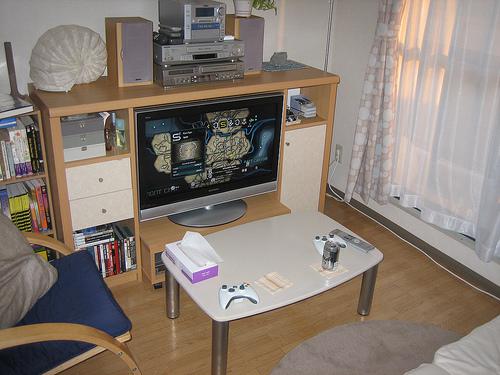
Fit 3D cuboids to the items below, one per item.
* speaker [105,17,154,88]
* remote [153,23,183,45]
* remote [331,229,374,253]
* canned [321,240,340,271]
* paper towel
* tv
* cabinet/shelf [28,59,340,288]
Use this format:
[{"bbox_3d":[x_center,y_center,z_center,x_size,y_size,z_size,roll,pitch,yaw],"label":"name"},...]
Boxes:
[{"bbox_3d":[-0.807,-0.911,2.577,0.284,0.440,0.317,-13,39,-25],"label":"speaker"},{"bbox_3d":[-0.566,-1.050,2.652,0.173,0.079,0.218,-17,45,-26],"label":"remote"},{"bbox_3d":[0.687,0.345,2.556,0.127,0.041,0.264,-17,33,-37],"label":"remote"},{"bbox_3d":[0.486,0.414,2.301,0.120,0.216,0.120,4,24,9],"label":"canned"},{"bbox_3d":[-0.354,0.425,2.323,0.222,0.091,0.287,-8,39,-44],"label":"paper towel"},{"bbox_3d":[-0.336,-0.223,2.830,0.892,0.652,0.289,-13,33,-26],"label":"tv"},{"bbox_3d":[-0.531,-0.092,2.656,1.553,1.019,0.549,-17,36,-26],"label":"cabinet/shelf"}]
